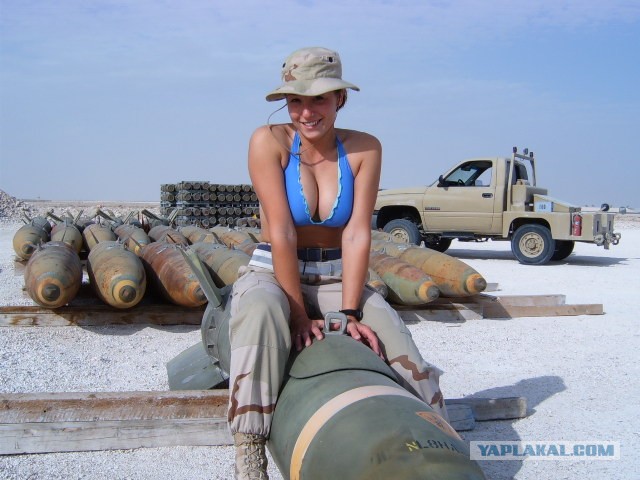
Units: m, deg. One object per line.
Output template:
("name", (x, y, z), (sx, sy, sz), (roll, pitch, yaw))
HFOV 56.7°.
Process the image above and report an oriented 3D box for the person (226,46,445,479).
("person", (-0.056, 0.192, 3.082), (1.034, 2.411, 1.078), (9, 11, 44))
